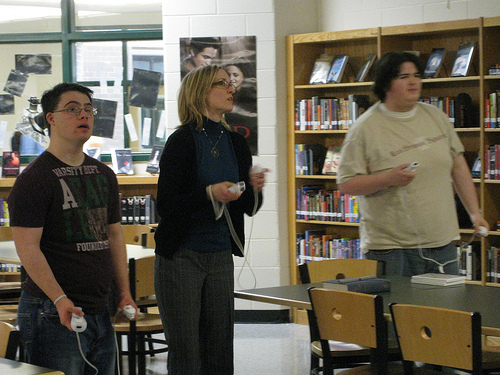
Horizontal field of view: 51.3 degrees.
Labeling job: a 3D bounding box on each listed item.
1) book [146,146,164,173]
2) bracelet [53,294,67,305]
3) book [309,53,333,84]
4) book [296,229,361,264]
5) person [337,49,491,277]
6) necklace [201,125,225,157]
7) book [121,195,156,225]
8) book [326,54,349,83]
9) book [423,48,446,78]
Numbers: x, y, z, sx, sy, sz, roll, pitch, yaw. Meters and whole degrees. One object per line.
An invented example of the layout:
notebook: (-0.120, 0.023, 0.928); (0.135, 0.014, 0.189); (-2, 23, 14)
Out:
book: (-1.070, -0.324, 5.926); (0.180, 0.309, 0.033); (13, -1, 35)
bracelet: (-0.730, 0.421, 1.991); (0.044, 0.010, 0.034); (-34, -6, 16)
book: (0.720, -1.196, 5.238); (0.334, 0.295, 0.080); (4, -17, 41)
book: (0.766, 0.585, 5.209); (0.401, 0.421, 0.198); (-4, -1, 19)
person: (0.957, -0.142, 2.967); (0.812, 1.280, 0.424); (0, 0, -12)
necklace: (-0.181, -0.220, 2.464); (0.186, 0.176, 0.022); (-1, -9, -45)
book: (-1.230, 0.245, 5.711); (0.393, 0.310, 0.256); (0, 1, 4)
book: (0.868, -1.177, 5.150); (0.072, 0.275, 0.289); (29, -18, -17)
book: (1.679, -1.139, 4.721); (0.033, 0.291, 0.143); (22, -2, -36)
